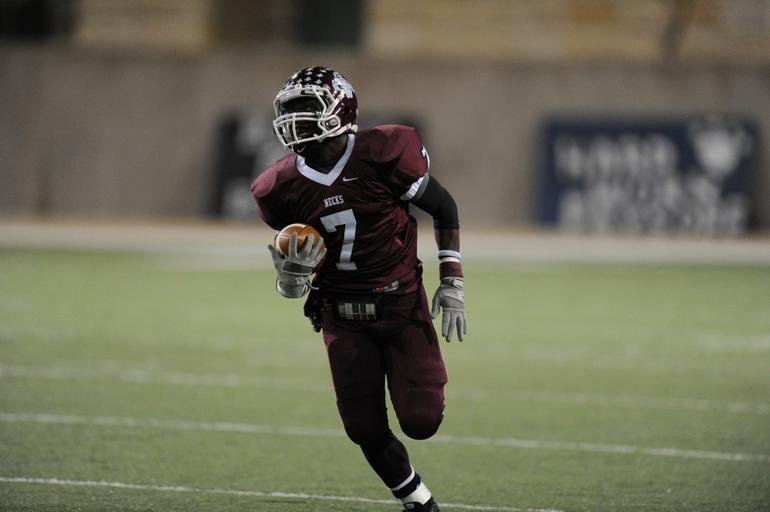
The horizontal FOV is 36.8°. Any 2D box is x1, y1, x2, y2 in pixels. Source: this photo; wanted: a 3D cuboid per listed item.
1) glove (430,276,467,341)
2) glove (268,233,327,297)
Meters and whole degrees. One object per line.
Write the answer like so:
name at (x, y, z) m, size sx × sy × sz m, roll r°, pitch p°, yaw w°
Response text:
glove at (0.507, 0.411, 8.965) m, size 0.305 × 0.466 × 0.179 m, roll -7°, pitch -4°, yaw 13°
glove at (-0.681, 0.075, 8.768) m, size 0.422 × 0.468 × 0.449 m, roll 9°, pitch 20°, yaw -2°
